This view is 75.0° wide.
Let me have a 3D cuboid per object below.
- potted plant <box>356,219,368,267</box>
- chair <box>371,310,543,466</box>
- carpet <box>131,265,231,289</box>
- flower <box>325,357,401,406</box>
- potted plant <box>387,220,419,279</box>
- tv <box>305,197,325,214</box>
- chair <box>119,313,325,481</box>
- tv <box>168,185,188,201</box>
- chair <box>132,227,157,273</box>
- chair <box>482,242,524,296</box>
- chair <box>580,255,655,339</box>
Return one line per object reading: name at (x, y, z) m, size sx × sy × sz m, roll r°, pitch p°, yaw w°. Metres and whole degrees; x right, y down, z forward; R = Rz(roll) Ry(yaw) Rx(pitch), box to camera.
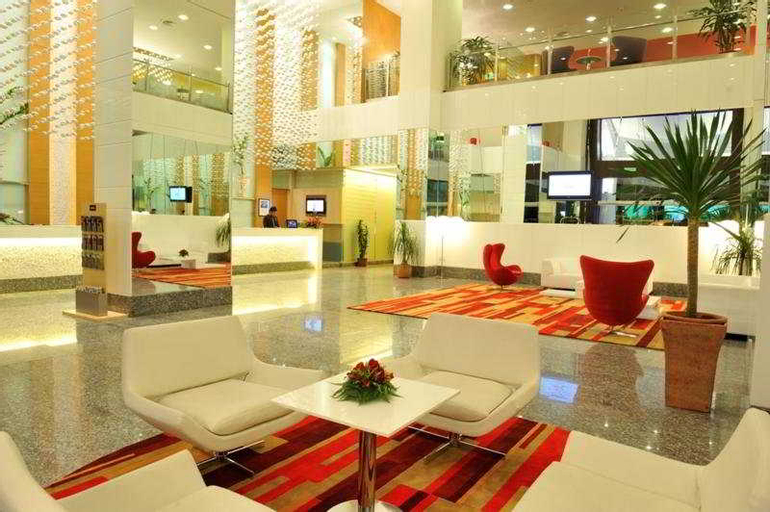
potted plant at (-0.709, -0.428, 15.849) m, size 0.382 × 1.423 × 0.283 m, roll -4°, pitch 6°, yaw -17°
chair at (0.587, 1.068, 4.011) m, size 1.207 × 0.992 × 0.911 m, roll 5°, pitch 8°, yaw 37°
carpet at (-3.216, 0.341, 8.067) m, size 1.524 × 0.444 × 0.365 m, roll -6°, pitch 7°, yaw -41°
flower at (-0.121, 0.847, 3.388) m, size 0.323 × 0.163 × 0.318 m, roll -2°, pitch 3°, yaw -34°
potted plant at (0.541, -0.198, 12.990) m, size 0.764 × 1.467 × 0.724 m, roll 0°, pitch -1°, yaw 24°
tv at (-2.118, -1.585, 15.539) m, size 0.715 × 0.534 × 0.113 m, roll 1°, pitch 7°, yaw 30°
chair at (-1.259, 1.097, 3.899) m, size 1.111 × 1.073 × 1.386 m, roll 5°, pitch 4°, yaw 43°
tv at (-3.491, -1.061, 8.436) m, size 0.314 × 0.296 × 0.165 m, roll 0°, pitch -3°, yaw -40°
chair at (-3.706, -0.089, 7.707) m, size 0.441 × 0.508 × 0.442 m, roll 7°, pitch 1°, yaw -20°
chair at (2.533, 0.239, 10.741) m, size 0.826 × 1.008 × 0.808 m, roll 3°, pitch 8°, yaw 19°
chair at (3.084, 0.526, 6.758) m, size 0.978 × 1.071 × 0.968 m, roll -2°, pitch 8°, yaw -8°
